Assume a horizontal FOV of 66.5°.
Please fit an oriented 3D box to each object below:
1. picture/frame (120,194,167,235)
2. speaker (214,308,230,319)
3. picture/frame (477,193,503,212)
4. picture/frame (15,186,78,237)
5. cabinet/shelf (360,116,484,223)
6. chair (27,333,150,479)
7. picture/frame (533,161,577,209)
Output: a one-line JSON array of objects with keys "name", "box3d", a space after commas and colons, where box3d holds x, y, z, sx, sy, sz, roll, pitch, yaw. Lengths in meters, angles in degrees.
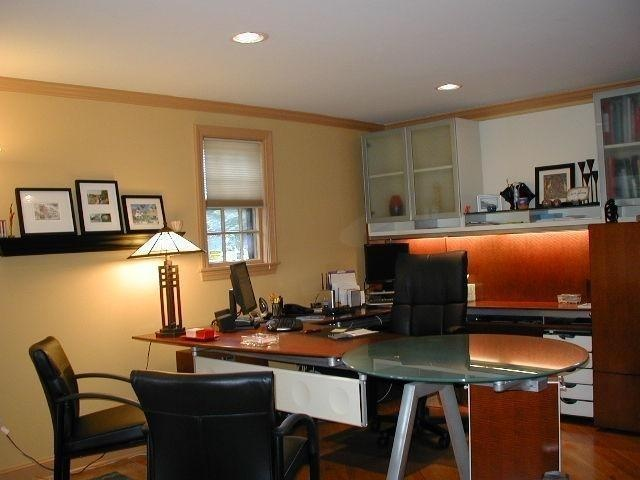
[{"name": "picture/frame", "box3d": [-1.640, -0.231, 4.475, 0.035, 0.339, 0.427, -17, -12, 42]}, {"name": "speaker", "box3d": [-0.852, 0.635, 4.283, 0.120, 0.109, 0.118, -6, -3, 29]}, {"name": "picture/frame", "box3d": [1.901, -0.412, 5.457, 0.263, 0.166, 0.027, 1, -8, -9]}, {"name": "picture/frame", "box3d": [-2.260, -0.228, 3.989, 0.474, 0.404, 0.039, 1, -11, -45]}, {"name": "cabinet/shelf", "box3d": [1.261, -0.833, 5.757, 1.403, 1.073, 0.495, -2, 0, 37]}, {"name": "chair", "box3d": [-1.481, 1.085, 3.169, 0.616, 0.816, 0.529, -5, 3, -28]}, {"name": "picture/frame", "box3d": [2.549, -0.589, 5.246, 0.586, 0.619, 0.031, -4, -11, 39]}]
